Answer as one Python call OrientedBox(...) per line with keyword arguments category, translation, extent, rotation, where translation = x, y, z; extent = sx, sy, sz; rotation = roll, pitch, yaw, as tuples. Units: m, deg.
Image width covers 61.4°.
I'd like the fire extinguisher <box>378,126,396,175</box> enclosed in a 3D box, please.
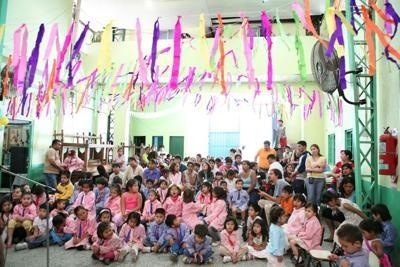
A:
OrientedBox(category="fire extinguisher", translation=(3.350, 0.304, 6.031), extent=(0.175, 0.782, 0.254), rotation=(1, 1, 23))
